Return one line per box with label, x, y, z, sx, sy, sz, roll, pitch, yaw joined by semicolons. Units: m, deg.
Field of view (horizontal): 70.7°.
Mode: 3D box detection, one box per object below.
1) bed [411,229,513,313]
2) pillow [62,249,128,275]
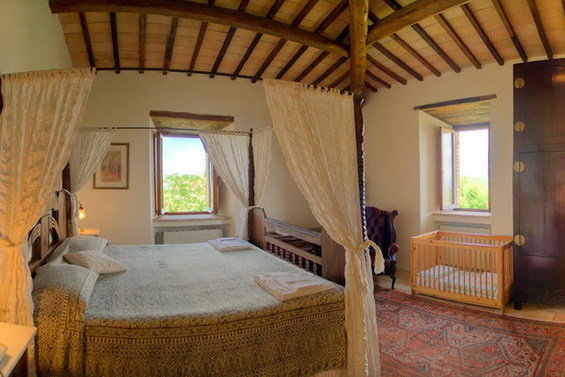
bed;2.841;1.242;6.182;1.396;1.016;1.036;3;8;39
pillow;-2.182;0.868;4.651;0.392;0.108;0.377;25;-5;18
